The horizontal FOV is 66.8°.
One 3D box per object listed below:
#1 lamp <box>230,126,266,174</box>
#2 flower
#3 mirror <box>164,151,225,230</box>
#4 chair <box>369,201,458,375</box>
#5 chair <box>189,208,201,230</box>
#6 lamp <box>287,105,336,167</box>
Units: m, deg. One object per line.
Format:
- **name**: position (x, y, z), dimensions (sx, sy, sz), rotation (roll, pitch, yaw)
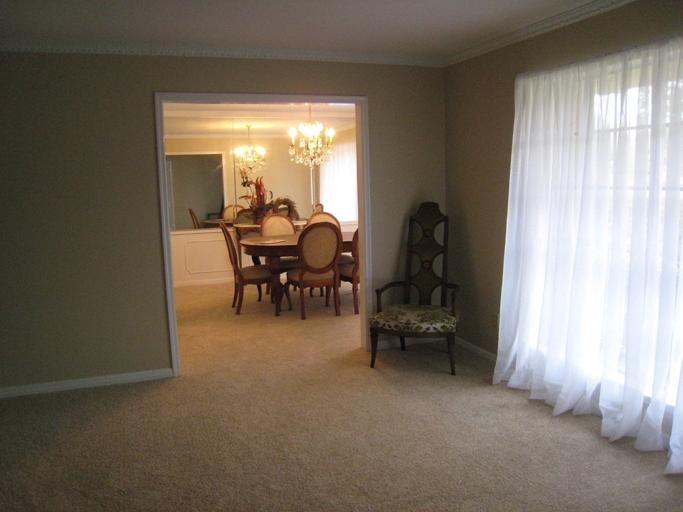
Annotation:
- **lamp**: position (-1.676, -1.811, 9.019), dimensions (0.622, 0.947, 0.655), rotation (1, 10, -1)
- **flower**: position (-1.181, -0.898, 8.231), dimensions (0.950, 0.873, 0.815), rotation (-16, -4, 38)
- **mirror**: position (-2.255, -1.041, 8.123), dimensions (0.970, 1.077, 0.859), rotation (-8, 14, -23)
- **chair**: position (0.653, 0.228, 4.529), dimensions (0.710, 1.323, 0.961), rotation (1, 14, 13)
- **chair**: position (-2.244, -0.574, 7.907), dimensions (0.155, 0.289, 0.216), rotation (-9, 15, -27)
- **lamp**: position (-0.431, -1.593, 7.269), dimensions (0.542, 0.587, 0.559), rotation (1, 5, 25)
